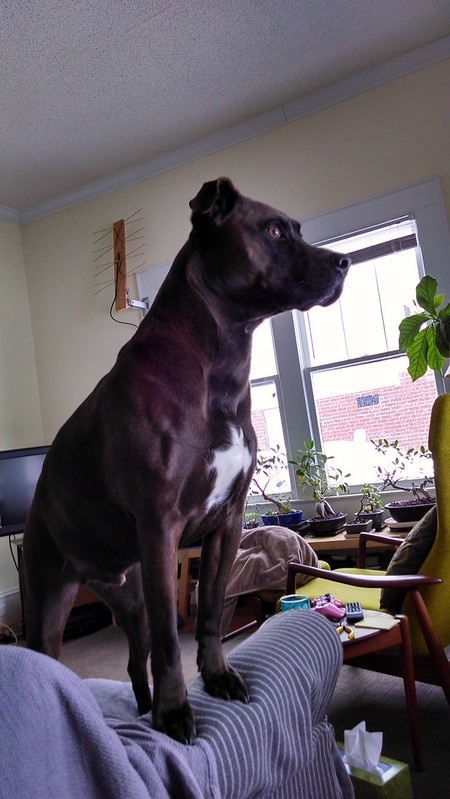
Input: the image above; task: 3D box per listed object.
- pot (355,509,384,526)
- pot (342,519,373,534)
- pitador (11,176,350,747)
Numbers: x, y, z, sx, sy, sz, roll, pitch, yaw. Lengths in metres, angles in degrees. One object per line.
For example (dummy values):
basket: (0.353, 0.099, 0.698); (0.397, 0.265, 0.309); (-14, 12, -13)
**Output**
pot: (0.985, 0.790, 3.377); (0.130, 0.071, 0.111); (-5, -3, 3)
pot: (0.859, 0.830, 3.256); (0.121, 0.050, 0.098); (-10, -8, 28)
pitador: (-0.043, 0.087, 0.541); (0.369, 0.533, 0.253); (-9, -2, 27)
